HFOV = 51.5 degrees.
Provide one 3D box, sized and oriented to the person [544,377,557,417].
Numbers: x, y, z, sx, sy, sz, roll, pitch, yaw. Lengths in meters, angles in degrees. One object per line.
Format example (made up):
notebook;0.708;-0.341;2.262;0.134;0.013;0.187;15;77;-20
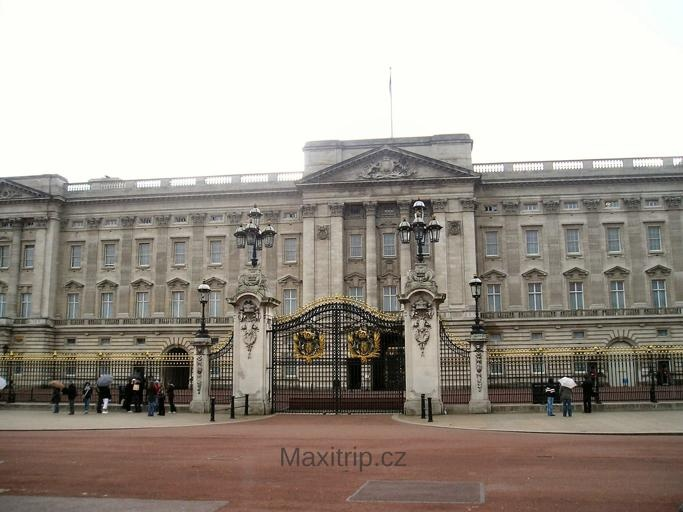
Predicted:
person;8.559;5.718;28.833;0.434;1.491;1.565;-3;-12;16

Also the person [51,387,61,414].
person;-13.001;6.549;32.197;0.328;1.165;2.222;5;-12;-22

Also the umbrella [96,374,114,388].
umbrella;-10.475;5.467;31.217;0.586;0.541;1.007;4;-12;-19

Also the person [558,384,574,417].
person;9.010;5.770;28.179;0.365;1.165;0.955;-4;-12;17

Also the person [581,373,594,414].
person;10.318;5.749;29.589;0.382;1.521;1.168;-4;-12;17

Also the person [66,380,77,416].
person;-12.297;6.371;32.066;0.435;1.493;3.516;4;-12;-20

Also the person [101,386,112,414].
person;-10.575;6.334;31.444;0.475;1.183;1.335;4;-12;-19
